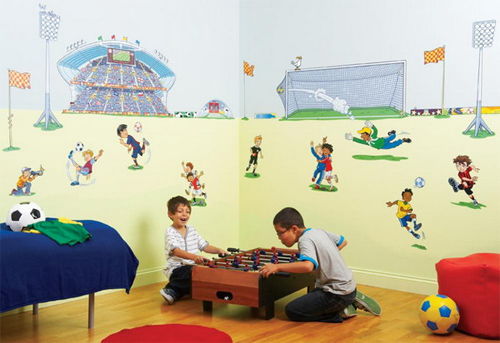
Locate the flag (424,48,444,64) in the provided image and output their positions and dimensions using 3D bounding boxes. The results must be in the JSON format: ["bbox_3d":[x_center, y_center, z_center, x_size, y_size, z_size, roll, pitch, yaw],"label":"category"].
[{"bbox_3d":[1.901,-1.189,4.486,0.182,0.154,0.025,5,11,39],"label":"flag"}]

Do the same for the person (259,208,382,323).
[{"bbox_3d":[0.582,0.890,4.165,1.239,0.995,0.752,2,-2,27],"label":"person"}]

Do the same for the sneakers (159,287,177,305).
[{"bbox_3d":[-0.809,1.196,4.297,0.096,0.089,0.192,-22,51,-22],"label":"sneakers"}]

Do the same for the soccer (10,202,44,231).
[{"bbox_3d":[-1.865,0.350,3.689,0.255,0.247,0.233,0,-23,-41],"label":"soccer"}]

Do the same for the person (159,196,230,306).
[{"bbox_3d":[-0.618,0.768,4.368,0.554,1.007,0.647,1,7,4],"label":"person"}]

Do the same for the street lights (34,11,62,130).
[{"bbox_3d":[-1.931,-0.975,4.151,0.286,1.153,0.093,-4,8,-30],"label":"street lights"}]

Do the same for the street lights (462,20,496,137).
[{"bbox_3d":[2.269,-0.902,4.272,0.261,1.127,0.108,3,8,24],"label":"street lights"}]

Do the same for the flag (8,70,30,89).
[{"bbox_3d":[-2.131,-0.845,4.009,0.204,0.176,0.022,1,-4,-42],"label":"flag"}]

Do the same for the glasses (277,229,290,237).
[{"bbox_3d":[0.286,0.541,3.920,0.076,0.022,0.073,-18,-5,-37],"label":"glasses"}]

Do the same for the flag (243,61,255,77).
[{"bbox_3d":[-0.012,-1.292,5.492,0.209,0.245,0.022,2,0,28],"label":"flag"}]
